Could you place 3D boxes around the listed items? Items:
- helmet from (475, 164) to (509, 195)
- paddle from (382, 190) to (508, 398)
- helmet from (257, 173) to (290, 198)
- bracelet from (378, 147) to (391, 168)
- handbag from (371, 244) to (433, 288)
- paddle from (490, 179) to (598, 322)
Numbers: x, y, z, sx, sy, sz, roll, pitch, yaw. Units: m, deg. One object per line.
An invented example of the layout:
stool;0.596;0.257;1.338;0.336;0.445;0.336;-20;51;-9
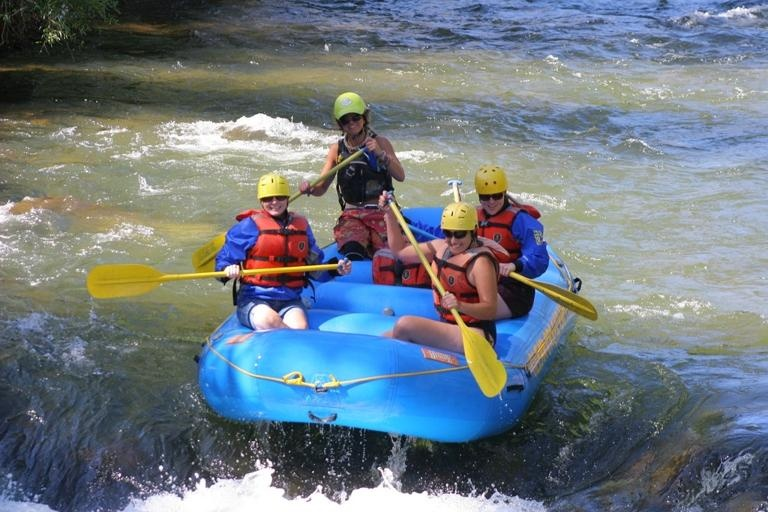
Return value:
helmet;1.166;-0.828;9.282;0.266;0.267;0.358;-5;-1;13
paddle;0.634;0.460;8.702;0.400;2.521;0.186;-31;-23;-1
helmet;-1.187;-0.758;9.068;0.282;0.221;0.371;-4;-7;-7
bracelet;-0.005;-1.142;9.848;0.129;0.166;0.061;-21;-2;-33
handbag;0.207;0.159;9.648;0.578;0.384;0.557;2;-9;4
paddle;1.623;-0.161;9.368;1.013;0.335;1.676;7;28;-22
